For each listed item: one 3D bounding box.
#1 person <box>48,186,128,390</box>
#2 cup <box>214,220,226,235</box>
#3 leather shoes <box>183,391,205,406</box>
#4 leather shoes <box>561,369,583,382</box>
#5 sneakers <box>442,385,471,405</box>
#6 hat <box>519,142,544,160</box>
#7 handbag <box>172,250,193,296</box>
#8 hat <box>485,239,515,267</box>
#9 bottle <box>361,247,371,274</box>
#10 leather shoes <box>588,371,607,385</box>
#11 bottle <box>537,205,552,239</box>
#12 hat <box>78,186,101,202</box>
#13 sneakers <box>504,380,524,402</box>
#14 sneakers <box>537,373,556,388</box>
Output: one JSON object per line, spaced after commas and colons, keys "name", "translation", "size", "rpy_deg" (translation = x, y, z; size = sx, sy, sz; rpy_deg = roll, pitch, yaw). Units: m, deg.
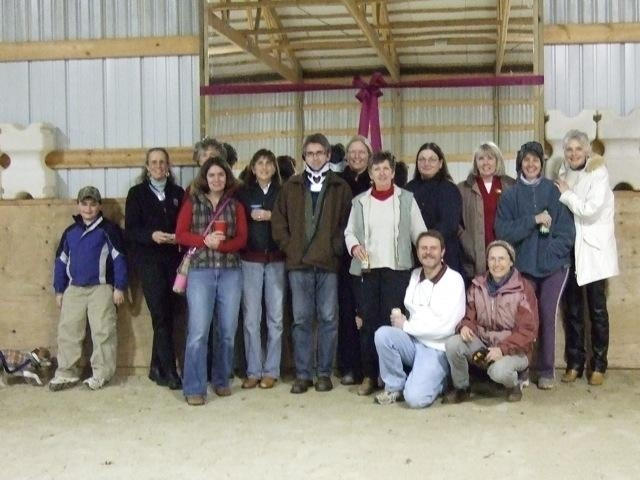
{"name": "person", "translation": [-2.467, 0.502, 9.457], "size": [0.805, 2.116, 0.396], "rpy_deg": [-1, 0, -16]}
{"name": "cup", "translation": [-0.984, -0.132, 8.718], "size": [0.111, 0.133, 0.096], "rpy_deg": [2, -6, -20]}
{"name": "leather shoes", "translation": [-1.230, 1.568, 8.785], "size": [0.218, 0.108, 0.194], "rpy_deg": [-1, 1, -8]}
{"name": "leather shoes", "translation": [2.584, 1.400, 9.129], "size": [0.089, 0.125, 0.268], "rpy_deg": [-11, -19, 37]}
{"name": "sneakers", "translation": [1.349, 1.523, 8.744], "size": [0.283, 0.147, 0.119], "rpy_deg": [1, 0, -28]}
{"name": "hat", "translation": [2.160, -0.909, 9.104], "size": [0.154, 0.162, 0.212], "rpy_deg": [-1, 4, 5]}
{"name": "handbag", "translation": [-1.406, 0.332, 9.033], "size": [0.163, 0.440, 0.413], "rpy_deg": [-1, 1, -16]}
{"name": "hat", "translation": [1.792, 0.097, 8.719], "size": [0.193, 0.274, 0.233], "rpy_deg": [-1, 15, 12]}
{"name": "bottle", "translation": [0.447, 0.216, 8.816], "size": [0.094, 0.225, 0.160], "rpy_deg": [0, 1, 14]}
{"name": "leather shoes", "translation": [2.832, 1.429, 9.060], "size": [0.074, 0.114, 0.242], "rpy_deg": [-11, -32, 20]}
{"name": "bottle", "translation": [2.271, -0.175, 8.931], "size": [0.080, 0.283, 0.159], "rpy_deg": [-6, 19, -16]}
{"name": "hat", "translation": [-2.461, -0.483, 9.495], "size": [0.270, 0.171, 0.191], "rpy_deg": [-2, 1, -42]}
{"name": "sneakers", "translation": [1.914, 1.476, 8.727], "size": [0.157, 0.182, 0.257], "rpy_deg": [0, 1, 14]}
{"name": "sneakers", "translation": [2.274, 1.432, 8.921], "size": [0.162, 0.123, 0.094], "rpy_deg": [0, 1, 11]}
